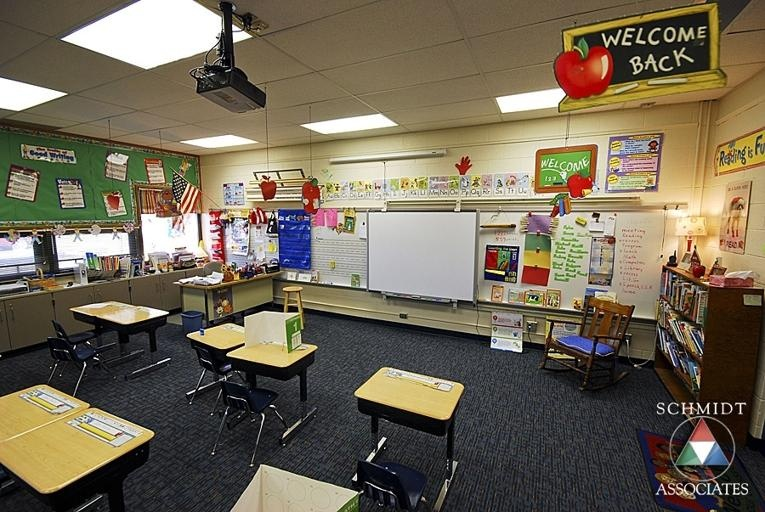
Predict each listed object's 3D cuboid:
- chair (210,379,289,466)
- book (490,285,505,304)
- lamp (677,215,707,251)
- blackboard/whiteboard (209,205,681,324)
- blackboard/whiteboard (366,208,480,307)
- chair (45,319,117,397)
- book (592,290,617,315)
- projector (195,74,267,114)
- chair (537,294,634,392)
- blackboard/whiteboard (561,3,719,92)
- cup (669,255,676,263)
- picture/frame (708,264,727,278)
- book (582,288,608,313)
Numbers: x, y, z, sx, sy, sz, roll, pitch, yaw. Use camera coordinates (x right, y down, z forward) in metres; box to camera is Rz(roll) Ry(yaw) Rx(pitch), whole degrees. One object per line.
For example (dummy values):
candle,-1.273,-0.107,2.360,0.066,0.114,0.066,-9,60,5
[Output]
chair,-1.559,1.978,4.980,0.566,0.917,0.802,10,24,19
book,1.842,0.604,6.794,0.281,0.373,0.041,4,4,22
lamp,4.108,-0.307,5.688,0.331,0.470,0.345,4,8,36
blackboard/whiteboard,0.946,0.217,7.135,6.575,1.872,0.362,2,7,24
blackboard/whiteboard,0.746,-0.019,7.042,1.681,1.274,0.113,2,5,22
chair,-4.255,1.445,6.009,0.768,0.986,0.751,8,12,28
book,3.176,0.659,6.075,0.294,0.295,0.033,29,-3,44
projector,-1.474,-1.610,4.412,0.372,0.187,0.531,4,0,23
chair,2.946,1.157,6.409,1.305,1.474,1.105,-1,2,-29
blackboard/whiteboard,2.214,-1.746,3.631,1.098,0.626,0.086,-3,0,18
cup,3.928,0.040,5.793,0.103,0.102,0.093,7,3,32
picture/frame,4.042,0.165,5.143,0.130,0.073,0.226,1,19,40
book,3.084,0.629,6.164,0.377,0.044,0.437,11,51,16
